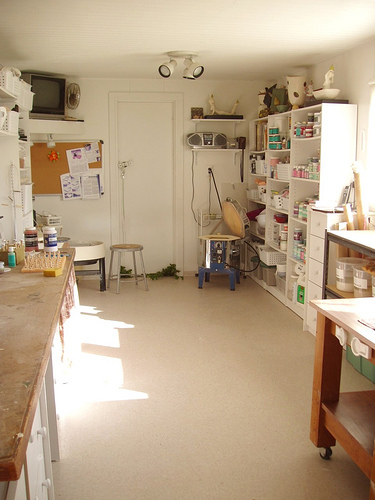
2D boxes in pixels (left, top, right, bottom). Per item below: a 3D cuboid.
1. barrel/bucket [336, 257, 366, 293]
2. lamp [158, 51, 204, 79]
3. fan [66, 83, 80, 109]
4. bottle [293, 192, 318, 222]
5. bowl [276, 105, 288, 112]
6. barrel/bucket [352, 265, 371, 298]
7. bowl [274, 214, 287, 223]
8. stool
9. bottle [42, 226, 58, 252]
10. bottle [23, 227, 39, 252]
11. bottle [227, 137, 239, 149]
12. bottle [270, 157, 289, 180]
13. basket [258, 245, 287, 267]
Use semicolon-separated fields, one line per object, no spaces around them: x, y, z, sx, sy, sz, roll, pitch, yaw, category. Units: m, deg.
1.080;0.169;2.568;0.197;0.224;0.213;0;5;0;barrel/bucket
-0.066;-1.924;3.861;0.383;0.237;0.378;-4;9;-40;lamp
-1.550;-2.068;4.985;0.195;0.332;0.179;-3;7;-16;fan
1.211;-0.445;3.857;0.093;0.278;0.264;11;19;21;bottle
1.125;-1.646;4.390;0.113;0.083;0.119;-1;6;0;bowl
1.072;0.209;2.293;0.139;0.160;0.153;-1;6;0;barrel/bucket
1.122;-0.368;4.467;0.122;0.061;0.127;2;1;0;bowl
-1.065;0.190;5.069;1.000;0.645;1.044;-2;7;-6;stool
-1.005;-0.058;2.693;0.086;0.205;0.257;-4;7;-22;bottle
-1.140;-0.066;2.689;0.085;0.183;0.203;-4;8;-24;bottle
0.649;-1.526;5.377;0.161;0.111;0.166;-3;34;2;bottle
1.081;-0.962;4.382;0.233;0.269;0.352;1;6;13;bottle
1.028;0.072;4.643;0.199;0.140;0.298;-1;10;-13;basket
